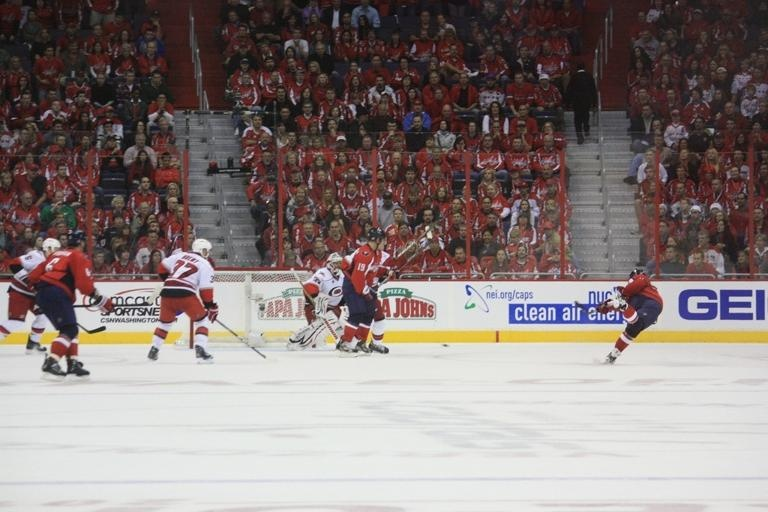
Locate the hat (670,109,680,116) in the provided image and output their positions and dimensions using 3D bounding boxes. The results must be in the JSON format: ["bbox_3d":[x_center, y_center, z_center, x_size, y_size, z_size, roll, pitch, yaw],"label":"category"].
[{"bbox_3d":[6.113,-3.015,30.933,0.177,0.153,0.160,6,47,10],"label":"hat"}]

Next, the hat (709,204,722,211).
[{"bbox_3d":[6.477,-0.978,28.822,0.174,0.126,0.132,16,-11,-30],"label":"hat"}]

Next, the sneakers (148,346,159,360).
[{"bbox_3d":[-4.106,1.711,26.435,0.172,0.253,0.267,2,-7,-1],"label":"sneakers"}]

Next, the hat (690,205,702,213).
[{"bbox_3d":[6.080,-0.939,28.771,0.128,0.123,0.173,-8,-34,31],"label":"hat"}]

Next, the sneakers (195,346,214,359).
[{"bbox_3d":[-3.209,1.679,26.354,0.301,0.196,0.232,-2,1,-8],"label":"sneakers"}]

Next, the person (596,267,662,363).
[{"bbox_3d":[4.564,0.911,26.988,1.164,1.187,1.947,7,42,16],"label":"person"}]

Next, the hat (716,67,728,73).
[{"bbox_3d":[7.302,-4.028,31.864,0.161,0.124,0.179,10,14,38],"label":"hat"}]

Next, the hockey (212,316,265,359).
[{"bbox_3d":[-2.645,1.523,27.060,0.339,0.289,3.880,-38,15,-6],"label":"hockey"}]

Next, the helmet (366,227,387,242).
[{"bbox_3d":[-0.150,-0.413,27.417,0.322,0.232,0.228,22,14,10],"label":"helmet"}]

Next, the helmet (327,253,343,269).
[{"bbox_3d":[-0.902,0.067,27.458,0.289,0.233,0.236,-3,5,3],"label":"helmet"}]

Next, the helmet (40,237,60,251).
[{"bbox_3d":[-5.772,-0.208,25.609,0.302,0.216,0.215,19,12,9],"label":"helmet"}]

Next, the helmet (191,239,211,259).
[{"bbox_3d":[-3.296,-0.165,26.669,0.383,0.311,0.288,-8,13,-17],"label":"helmet"}]
